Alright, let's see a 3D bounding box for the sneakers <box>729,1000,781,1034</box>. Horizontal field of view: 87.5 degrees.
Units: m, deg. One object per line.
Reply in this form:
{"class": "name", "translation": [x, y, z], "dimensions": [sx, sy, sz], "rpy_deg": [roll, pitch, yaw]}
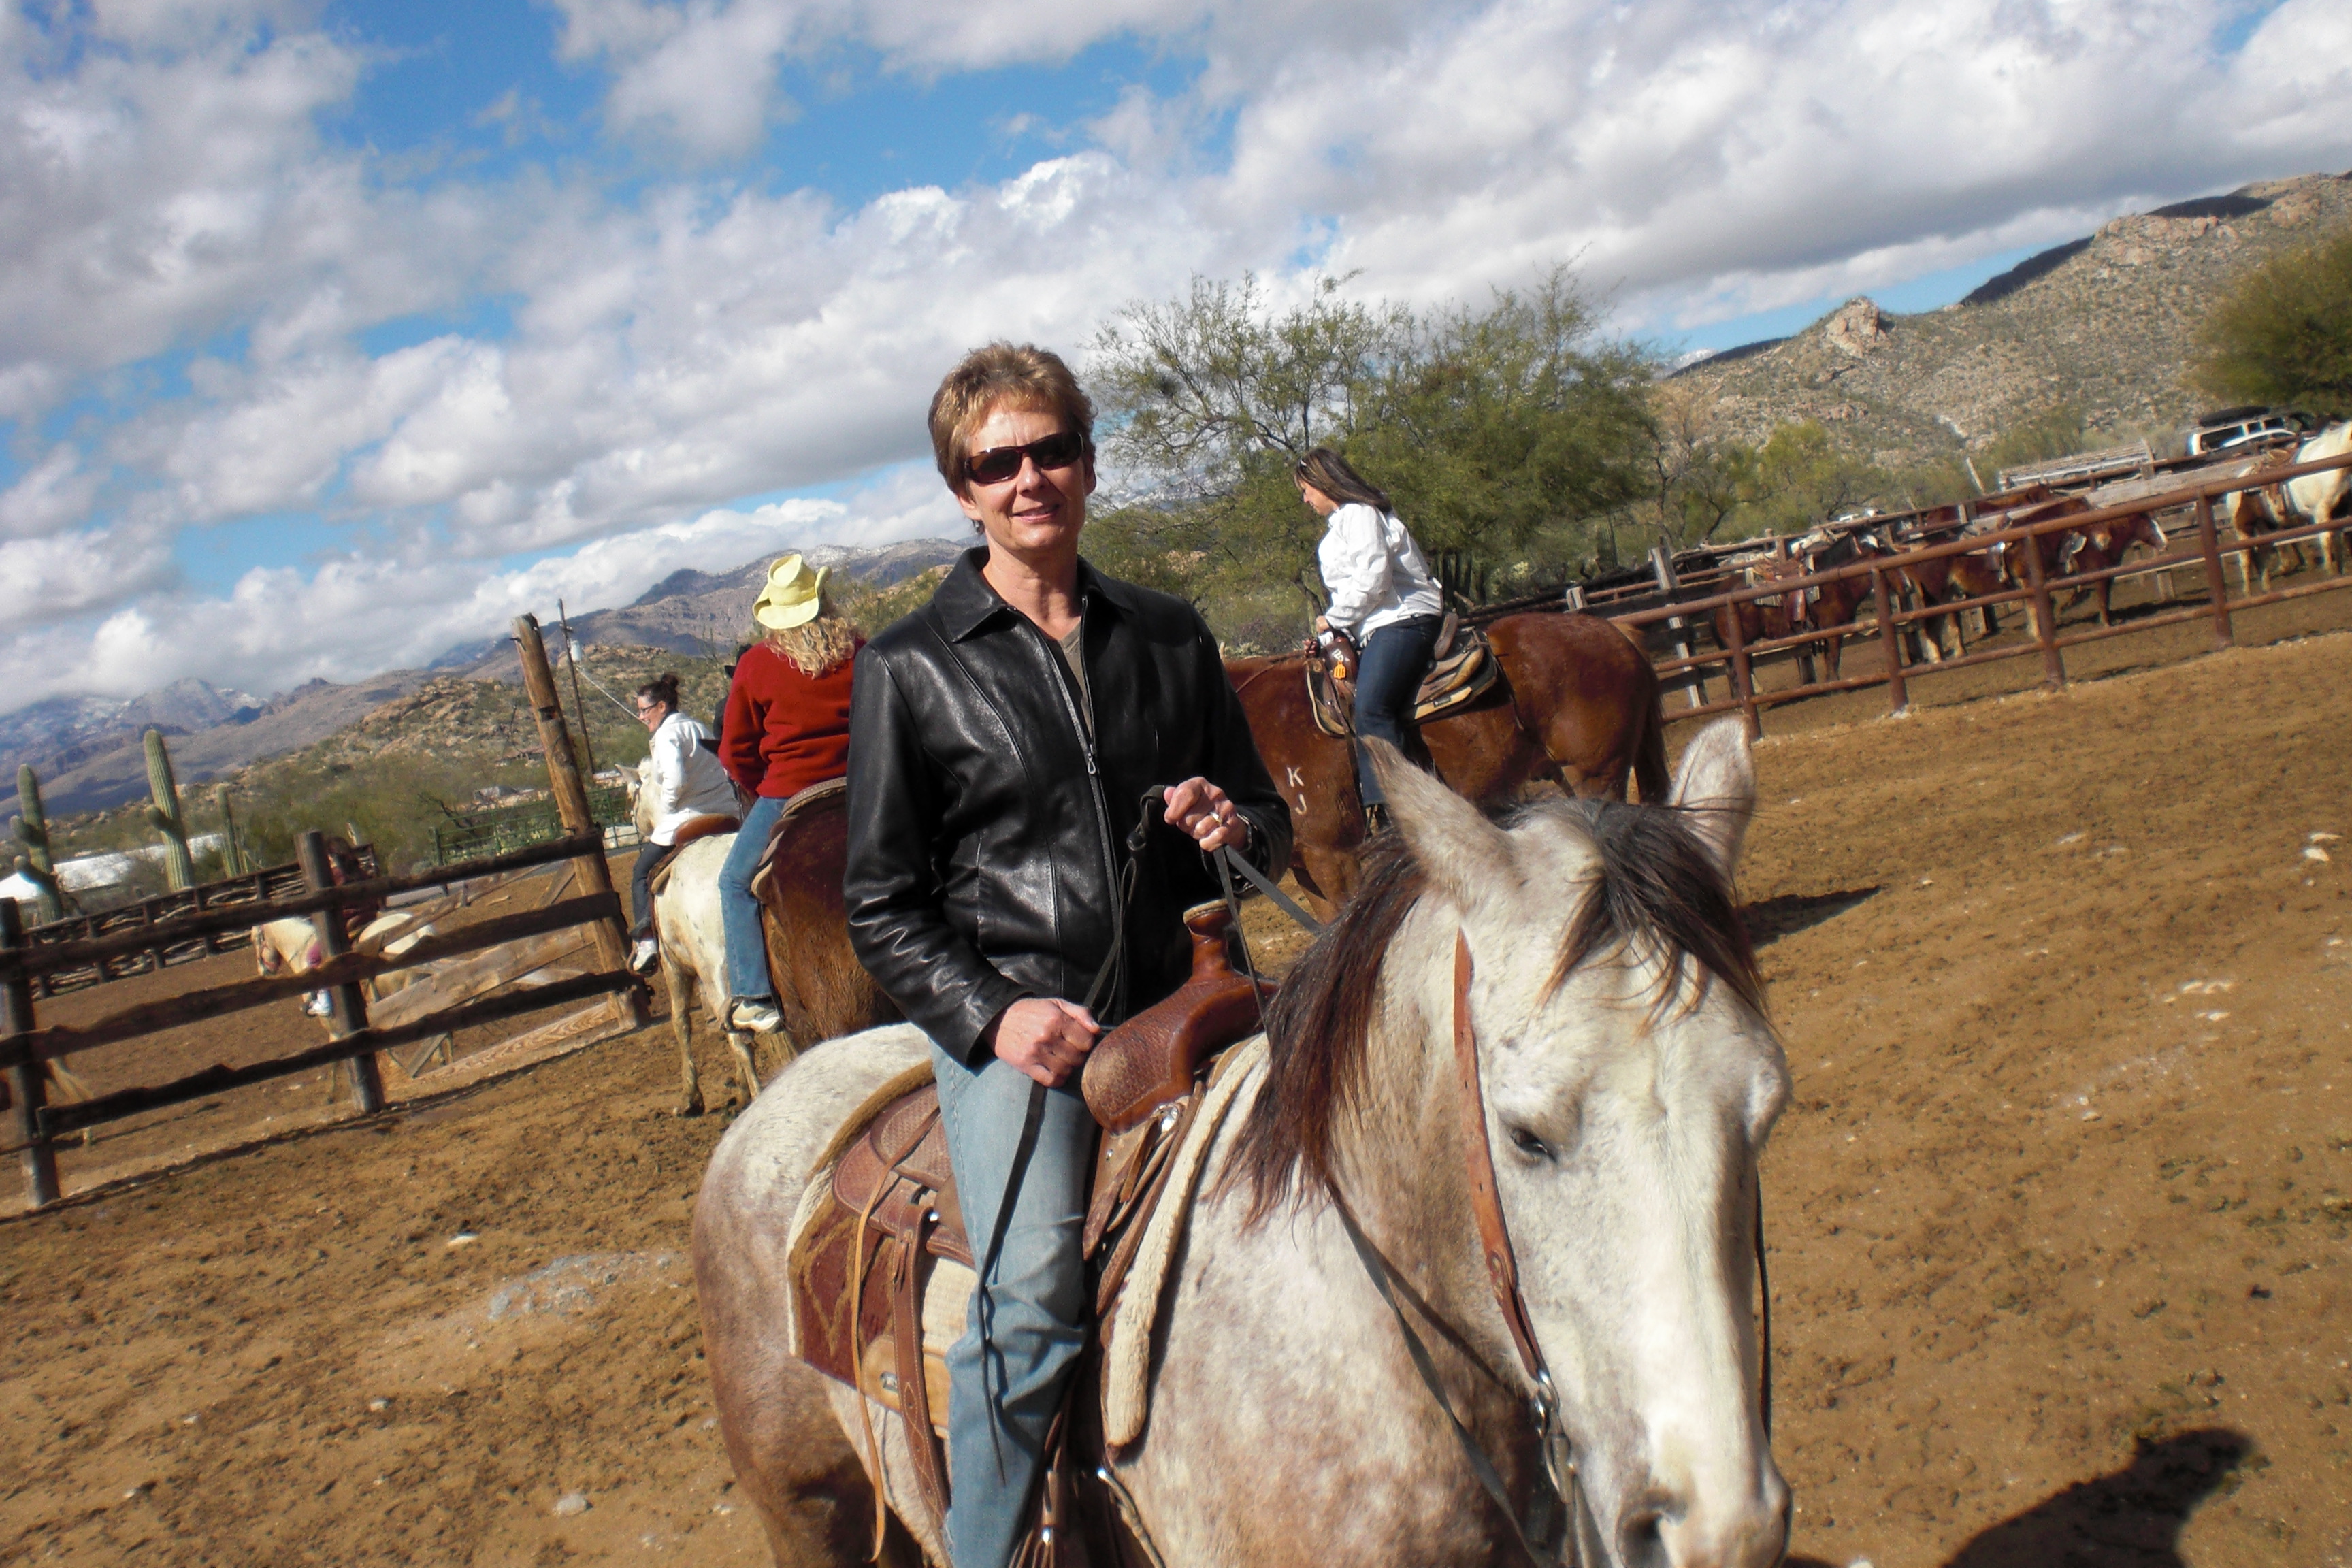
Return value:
{"class": "sneakers", "translation": [-2.302, 1.256, 6.795], "dimensions": [0.213, 0.262, 0.610], "rpy_deg": [0, -9, -6]}
